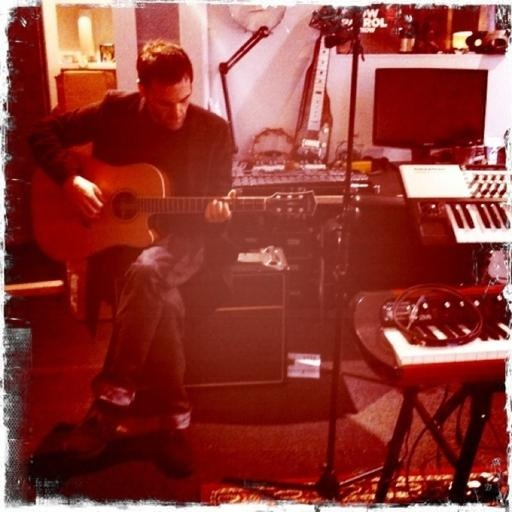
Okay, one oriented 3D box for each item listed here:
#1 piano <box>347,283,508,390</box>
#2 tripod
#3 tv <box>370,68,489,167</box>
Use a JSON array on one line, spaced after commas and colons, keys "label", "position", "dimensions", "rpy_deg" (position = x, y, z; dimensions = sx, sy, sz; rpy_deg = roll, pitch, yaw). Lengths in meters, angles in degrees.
[{"label": "piano", "position": [0.588, 0.222, 1.447], "dimensions": [0.523, 0.257, 0.315], "rpy_deg": [-3, 15, -8]}, {"label": "tripod", "position": [0.267, 0.085, 1.626], "dimensions": [0.427, 1.596, 0.538], "rpy_deg": [11, 17, 39]}, {"label": "tv", "position": [0.723, -0.593, 1.930], "dimensions": [0.462, 0.463, 0.135], "rpy_deg": [0, 3, 1]}]
